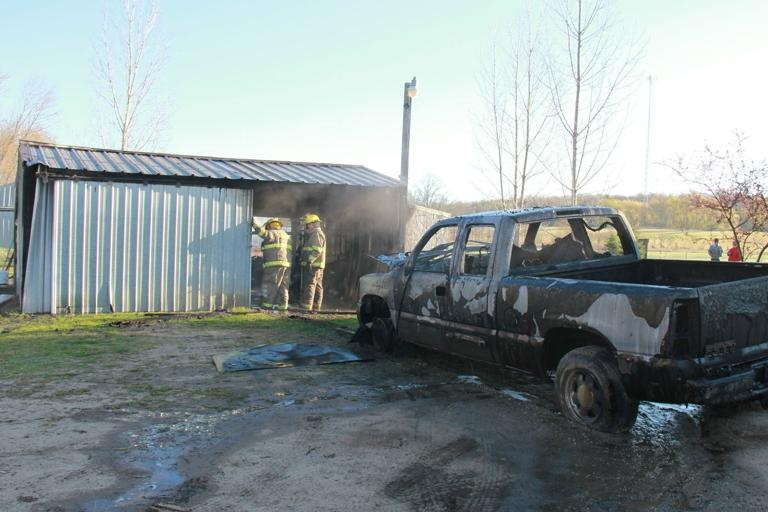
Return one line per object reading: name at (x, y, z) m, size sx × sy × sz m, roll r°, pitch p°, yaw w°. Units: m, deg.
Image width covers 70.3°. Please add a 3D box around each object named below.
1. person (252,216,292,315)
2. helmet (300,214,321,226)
person at (-2.649, 0.201, 12.992) m, size 0.844 × 2.199 × 1.327 m, roll -1°, pitch 9°, yaw -9°
helmet at (-1.856, -0.922, 13.825) m, size 0.486 × 0.257 × 0.698 m, roll 1°, pitch -3°, yaw -4°
